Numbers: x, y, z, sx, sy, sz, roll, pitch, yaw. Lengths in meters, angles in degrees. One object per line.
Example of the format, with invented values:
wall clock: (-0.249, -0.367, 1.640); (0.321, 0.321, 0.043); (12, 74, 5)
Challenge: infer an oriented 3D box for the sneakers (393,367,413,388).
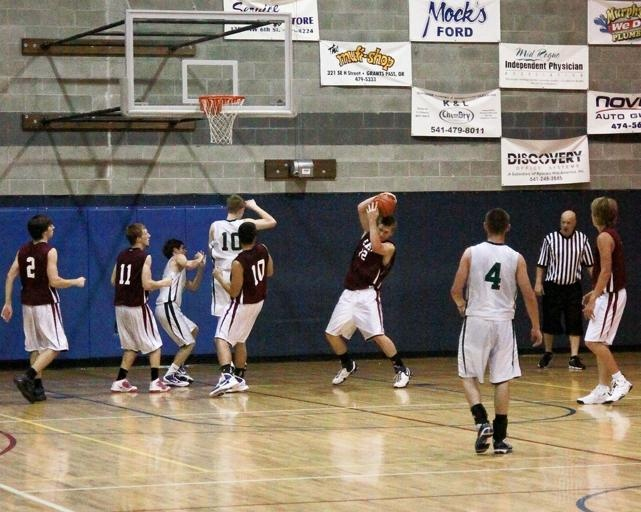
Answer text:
sneakers: (0.982, 1.441, 10.031); (0.224, 0.196, 0.554); (1, -1, 6)

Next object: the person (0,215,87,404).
person: (-2.885, 0.563, 9.034); (0.925, 1.986, 0.590); (0, 1, 38)

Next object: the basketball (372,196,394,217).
basketball: (0.730, -0.547, 9.499); (0.179, 0.241, 0.212); (4, 13, 18)

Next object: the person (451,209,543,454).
person: (1.367, 0.602, 6.706); (0.647, 1.930, 0.344); (0, 1, 9)

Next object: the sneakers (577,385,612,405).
sneakers: (2.784, 1.438, 8.788); (0.392, 0.241, 0.149); (0, -1, -2)

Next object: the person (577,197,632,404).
person: (2.857, 0.469, 8.666); (0.501, 2.120, 0.832); (0, 1, 20)

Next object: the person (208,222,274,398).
person: (-0.838, 0.599, 9.279); (0.661, 1.900, 0.885); (-1, 1, -33)

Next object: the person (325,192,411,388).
person: (0.569, 0.433, 9.898); (0.938, 2.251, 1.284); (0, 1, 2)

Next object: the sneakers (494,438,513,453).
sneakers: (1.442, 1.499, 6.733); (0.179, 0.127, 0.144); (0, 1, -6)

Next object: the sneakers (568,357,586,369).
sneakers: (3.400, 1.464, 11.493); (0.113, 0.156, 0.344); (-1, -7, -9)

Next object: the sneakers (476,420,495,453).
sneakers: (1.273, 1.444, 6.662); (0.107, 0.288, 0.120); (0, 31, -19)

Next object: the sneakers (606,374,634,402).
sneakers: (3.048, 1.379, 8.816); (0.317, 0.152, 0.110); (-50, 10, -16)
